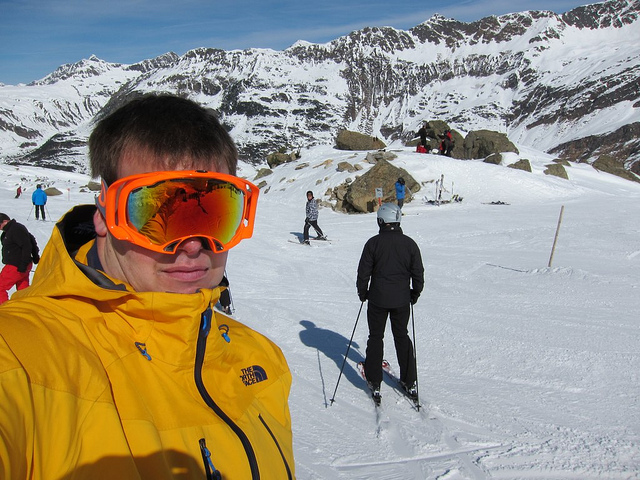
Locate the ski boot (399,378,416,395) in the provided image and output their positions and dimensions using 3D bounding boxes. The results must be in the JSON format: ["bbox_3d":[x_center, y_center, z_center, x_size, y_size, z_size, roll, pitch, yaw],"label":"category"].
[{"bbox_3d":[1.006,1.708,5.988,0.080,0.102,0.232,-13,48,-31],"label":"ski boot"}]

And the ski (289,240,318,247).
[{"bbox_3d":[-0.420,0.179,16.545,0.278,0.038,0.932,-9,11,-34],"label":"ski"}]

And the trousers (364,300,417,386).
[{"bbox_3d":[0.803,1.106,6.036,0.657,1.217,0.336,-1,1,-3],"label":"trousers"}]

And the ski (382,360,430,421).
[{"bbox_3d":[1.009,1.803,6.126,0.149,0.061,1.016,-7,8,-6],"label":"ski"}]

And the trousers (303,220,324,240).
[{"bbox_3d":[-0.221,-0.305,17.516,0.377,0.691,0.869,-28,-25,32],"label":"trousers"}]
